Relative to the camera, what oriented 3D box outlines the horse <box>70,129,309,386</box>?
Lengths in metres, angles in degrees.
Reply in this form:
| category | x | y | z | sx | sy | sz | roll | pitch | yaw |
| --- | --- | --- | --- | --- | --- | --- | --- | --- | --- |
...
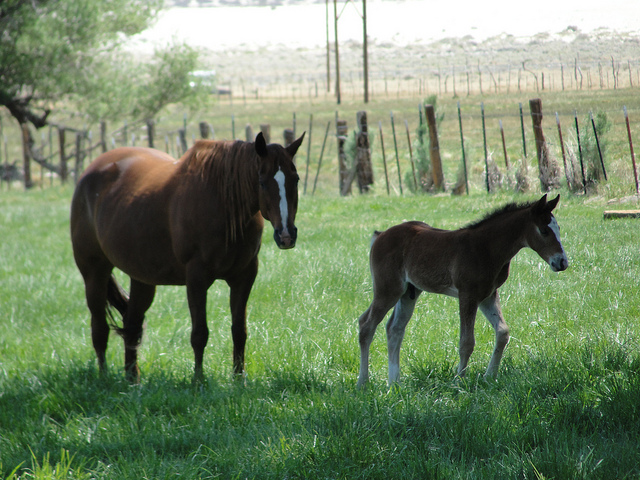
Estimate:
| category | x | y | z | sx | sy | sz | roll | pitch | yaw |
| --- | --- | --- | --- | --- | --- | --- | --- | --- | --- |
| horse | -5.225 | 1.058 | 40.698 | 10.839 | 9.450 | 3.441 | -1 | 5 | 36 |

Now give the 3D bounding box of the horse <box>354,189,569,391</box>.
| category | x | y | z | sx | sy | sz | roll | pitch | yaw |
| --- | --- | --- | --- | --- | --- | --- | --- | --- | --- |
| horse | 4.725 | 1.984 | 39.257 | 7.401 | 7.881 | 2.273 | 1 | 7 | 27 |
